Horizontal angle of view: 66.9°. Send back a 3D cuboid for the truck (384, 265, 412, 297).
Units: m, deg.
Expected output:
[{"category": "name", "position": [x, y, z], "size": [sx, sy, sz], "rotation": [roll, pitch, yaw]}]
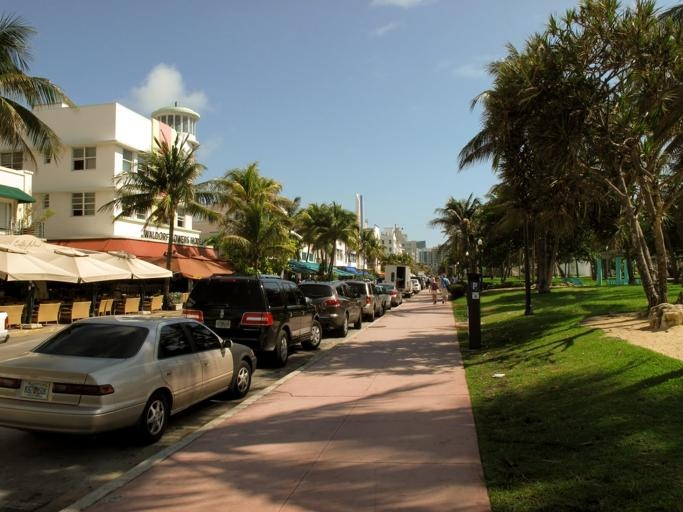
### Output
[{"category": "truck", "position": [5.846, 2.435, 53.069], "size": [1.938, 2.277, 3.588], "rotation": [0, -6, 5]}]
